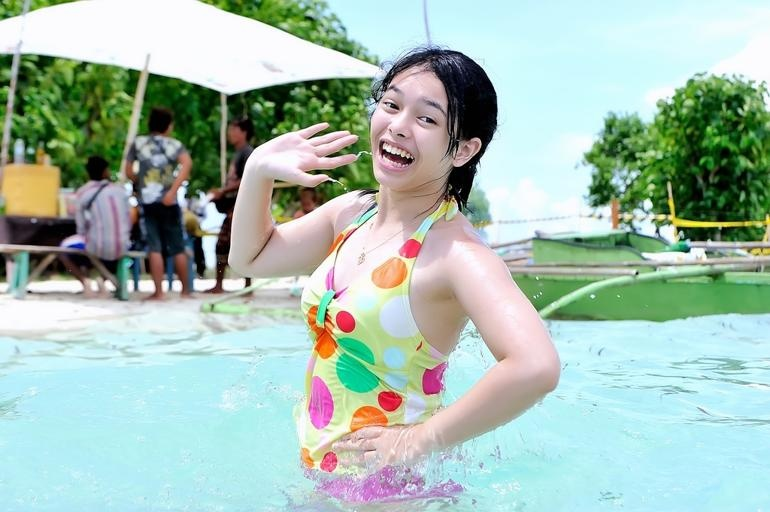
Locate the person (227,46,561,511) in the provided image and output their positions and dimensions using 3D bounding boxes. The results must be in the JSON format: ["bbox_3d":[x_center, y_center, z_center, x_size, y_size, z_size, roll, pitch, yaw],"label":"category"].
[{"bbox_3d":[0.037,0.040,2.875,1.478,1.920,0.557,4,8,15],"label":"person"}]

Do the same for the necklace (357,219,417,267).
[{"bbox_3d":[-0.002,-0.048,2.907,0.046,0.172,0.185,35,-4,-41],"label":"necklace"}]
